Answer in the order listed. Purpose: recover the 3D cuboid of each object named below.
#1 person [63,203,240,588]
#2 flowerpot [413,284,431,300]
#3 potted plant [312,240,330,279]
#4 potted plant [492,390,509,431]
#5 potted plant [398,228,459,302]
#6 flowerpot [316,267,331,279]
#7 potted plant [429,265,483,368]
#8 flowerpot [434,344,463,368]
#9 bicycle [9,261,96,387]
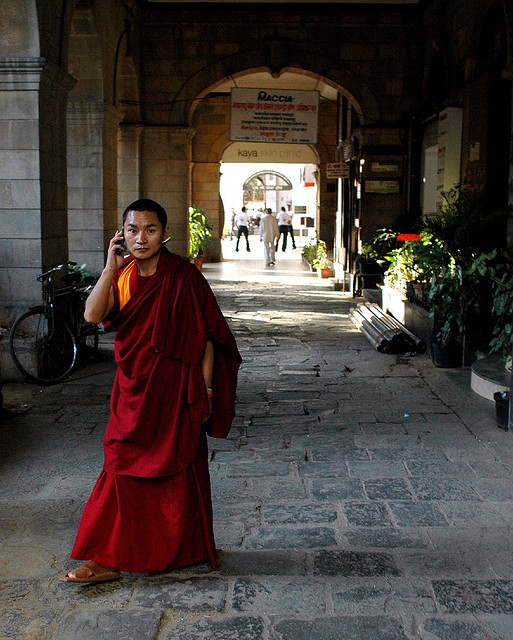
[{"bbox_3d":[-0.384,0.277,2.013,0.643,1.410,0.343,0,4,-5],"label":"person"},{"bbox_3d":[2.237,-0.373,7.314,0.202,0.180,0.198,-1,6,7],"label":"flowerpot"},{"bbox_3d":[2.116,-1.874,16.907,0.508,1.208,0.514,-8,12,-3],"label":"potted plant"},{"bbox_3d":[1.846,0.677,4.092,0.095,0.266,0.289,2,4,24],"label":"potted plant"},{"bbox_3d":[1.929,-0.588,6.289,0.579,0.616,0.469,3,5,37],"label":"potted plant"},{"bbox_3d":[2.020,-1.446,16.498,0.362,0.259,0.367,0,5,28],"label":"flowerpot"},{"bbox_3d":[2.181,-0.021,5.938,0.422,0.971,0.394,13,12,0],"label":"potted plant"},{"bbox_3d":[2.170,0.425,6.169,0.276,0.190,0.265,-5,8,-31],"label":"flowerpot"},{"bbox_3d":[-2.165,0.007,5.764,0.589,1.279,0.925,0,4,1],"label":"bicycle"}]
